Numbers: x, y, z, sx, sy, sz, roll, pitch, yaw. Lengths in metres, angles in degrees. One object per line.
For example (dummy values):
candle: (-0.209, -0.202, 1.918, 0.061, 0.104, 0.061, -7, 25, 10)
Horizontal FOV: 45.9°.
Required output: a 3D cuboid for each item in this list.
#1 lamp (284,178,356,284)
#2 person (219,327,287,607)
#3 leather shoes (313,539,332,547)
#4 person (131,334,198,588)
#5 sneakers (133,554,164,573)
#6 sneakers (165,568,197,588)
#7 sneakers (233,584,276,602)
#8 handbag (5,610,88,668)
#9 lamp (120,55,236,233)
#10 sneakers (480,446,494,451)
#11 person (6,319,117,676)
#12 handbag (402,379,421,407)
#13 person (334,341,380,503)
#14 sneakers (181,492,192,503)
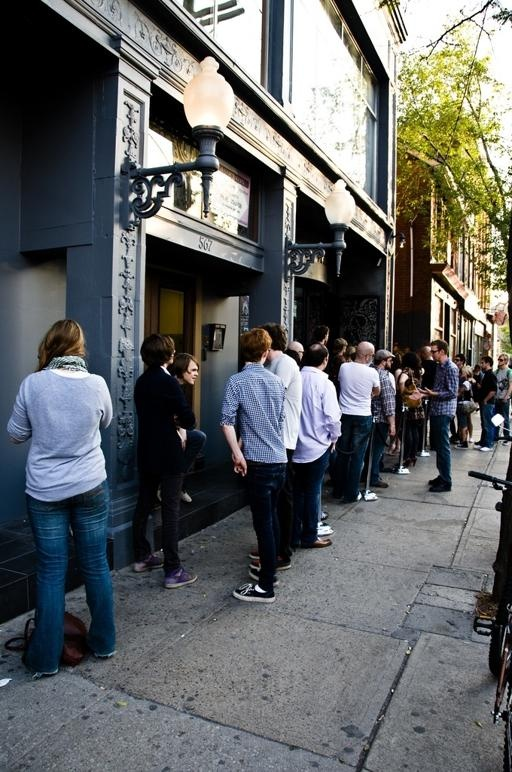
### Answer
lamp: (0.855, -1.946, 7.311, 0.705, 1.303, 1.097, 1, 2, -24)
person: (-0.019, 0.509, 3.988, 0.417, 1.793, 0.337, 1, 1, -4)
leather shoes: (0.566, 1.332, 5.217, 0.165, 0.079, 0.064, -3, -3, -6)
person: (-0.658, 0.504, 4.292, 0.353, 1.743, 0.616, 0, 2, -35)
sneakers: (-0.792, 1.293, 4.525, 0.091, 0.117, 0.257, 4, 4, 39)
sneakers: (-0.533, 1.333, 4.248, 0.088, 0.119, 0.247, 0, -3, 39)
sneakers: (-0.018, 1.389, 4.002, 0.245, 0.100, 0.115, 4, -12, 12)
handbag: (-1.044, 1.293, 3.059, 0.246, 0.145, 0.352, -2, -15, 34)
lamp: (-0.576, -1.883, 4.665, 0.996, 1.386, 0.696, 2, 2, 33)
sneakers: (4.473, 1.212, 11.757, 0.275, 0.127, 0.091, 9, -15, -39)
person: (-0.937, 0.632, 2.966, 0.512, 1.563, 0.241, 1, 2, -25)
handbag: (2.259, 0.125, 8.854, 0.236, 0.378, 0.357, 0, -4, 10)
person: (1.139, 0.408, 6.895, 0.453, 1.829, 0.535, 1, 1, 8)
sneakers: (-0.686, 1.079, 5.957, 0.085, 0.071, 0.226, -1, -6, -15)
